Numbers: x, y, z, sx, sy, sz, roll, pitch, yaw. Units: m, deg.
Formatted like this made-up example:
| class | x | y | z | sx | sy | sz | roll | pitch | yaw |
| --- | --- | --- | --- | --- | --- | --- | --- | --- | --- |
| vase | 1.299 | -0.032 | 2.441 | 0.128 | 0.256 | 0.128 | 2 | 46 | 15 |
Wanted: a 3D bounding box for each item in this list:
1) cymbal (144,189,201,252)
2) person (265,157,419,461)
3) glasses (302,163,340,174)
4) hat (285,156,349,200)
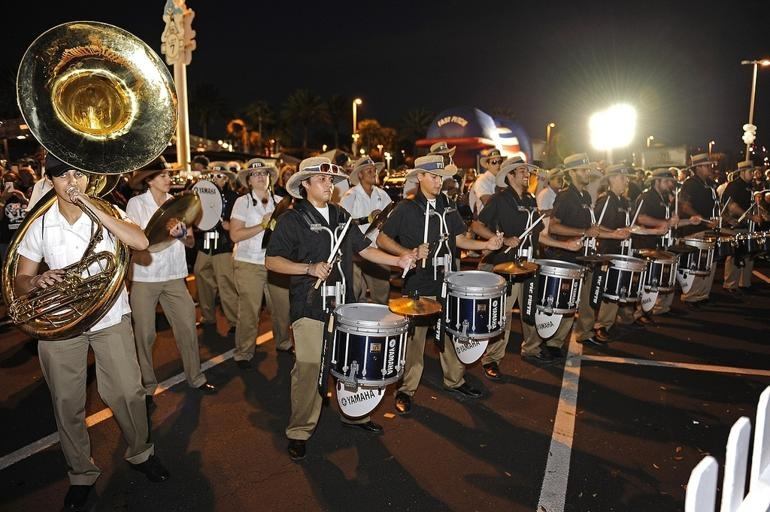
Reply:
| class | x | y | z | sx | sy | sz | roll | pitch | yaw |
| --- | --- | --- | --- | --- | --- | --- | --- | --- | --- |
| cymbal | -2.310 | -0.378 | 5.715 | 0.475 | 0.724 | 0.520 | 1 | -1 | -3 |
| person | -0.458 | 0.517 | 5.473 | 1.382 | 2.942 | 1.110 | -6 | 7 | -40 |
| glasses | -0.638 | -0.875 | 5.285 | 0.381 | 0.109 | 0.150 | 1 | 9 | -11 |
| hat | -0.717 | -0.838 | 5.346 | 0.516 | 0.225 | 0.464 | -8 | -6 | 20 |
